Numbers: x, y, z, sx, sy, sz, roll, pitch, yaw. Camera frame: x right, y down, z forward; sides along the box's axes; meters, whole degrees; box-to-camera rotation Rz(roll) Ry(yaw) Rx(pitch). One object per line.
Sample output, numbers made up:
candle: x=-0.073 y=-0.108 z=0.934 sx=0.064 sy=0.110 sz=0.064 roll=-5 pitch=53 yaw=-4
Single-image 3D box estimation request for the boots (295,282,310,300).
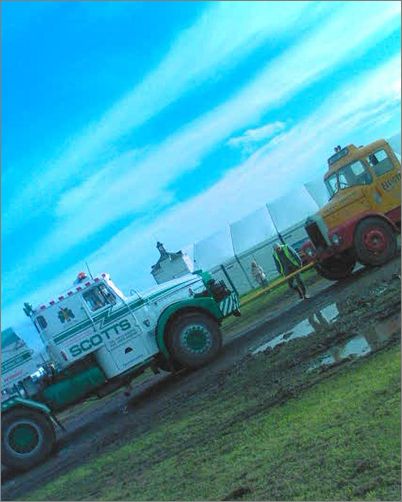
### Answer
boots: x=2.365 y=0.944 z=10.434 sx=0.179 sy=0.478 sz=0.227 roll=-26 pitch=-23 yaw=28
